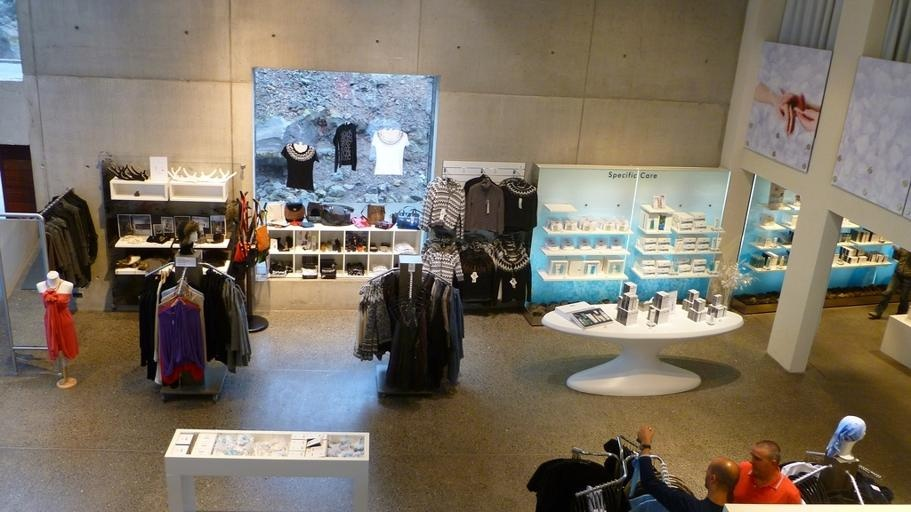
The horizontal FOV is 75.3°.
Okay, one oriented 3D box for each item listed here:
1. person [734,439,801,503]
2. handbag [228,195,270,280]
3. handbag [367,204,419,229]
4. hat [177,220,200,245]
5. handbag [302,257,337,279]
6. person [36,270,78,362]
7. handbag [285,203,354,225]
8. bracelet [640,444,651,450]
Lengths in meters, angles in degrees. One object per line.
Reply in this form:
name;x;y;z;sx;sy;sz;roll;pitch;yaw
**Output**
person;3.655;2.576;6.855;0.694;0.803;0.418;8;16;30
handbag;-3.829;-0.377;10.907;0.693;1.535;0.935;-4;14;-17
handbag;-1.234;-0.770;11.855;0.814;0.282;0.542;0;25;-2
hat;-4.615;-0.388;10.212;0.442;0.405;0.334;-5;24;-13
handbag;-2.683;0.215;11.669;0.658;0.412;0.402;-3;13;-12
person;-6.320;0.978;9.421;0.457;1.508;0.365;-9;17;-33
handbag;-2.688;-0.845;11.741;0.845;0.251;0.644;-2;10;-28
bracelet;2.266;2.276;7.017;0.091;0.032;0.081;1;16;2
